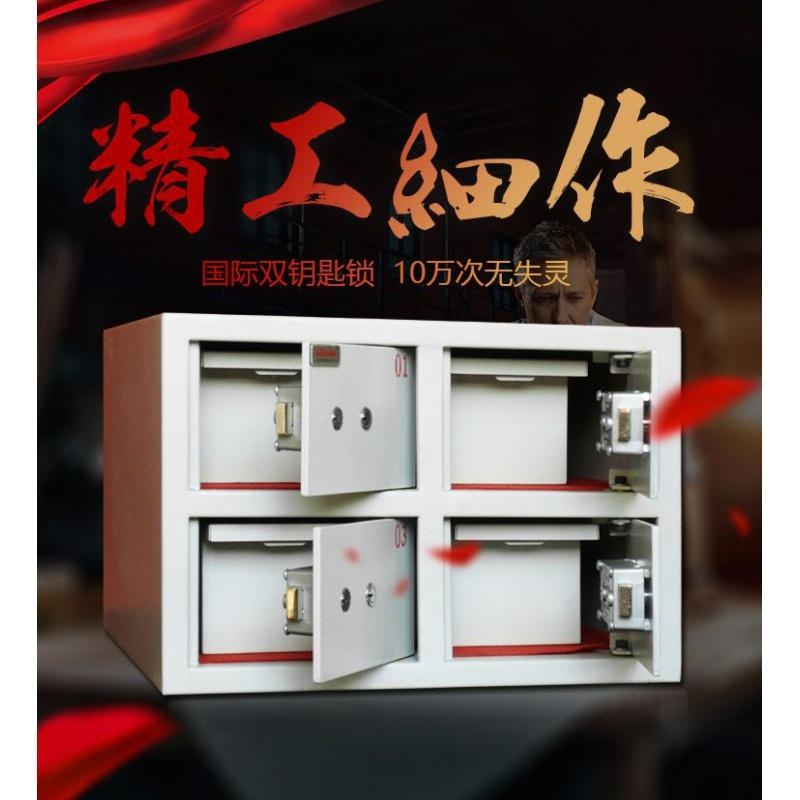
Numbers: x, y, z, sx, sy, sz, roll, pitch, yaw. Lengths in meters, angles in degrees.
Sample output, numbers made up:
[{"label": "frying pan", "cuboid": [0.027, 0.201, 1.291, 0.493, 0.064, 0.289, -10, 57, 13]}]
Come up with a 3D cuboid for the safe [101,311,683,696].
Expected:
[{"label": "safe", "cuboid": [-0.022, 0.232, 2.265, 1.349, 0.828, 0.676, 0, 0, -11]}]
